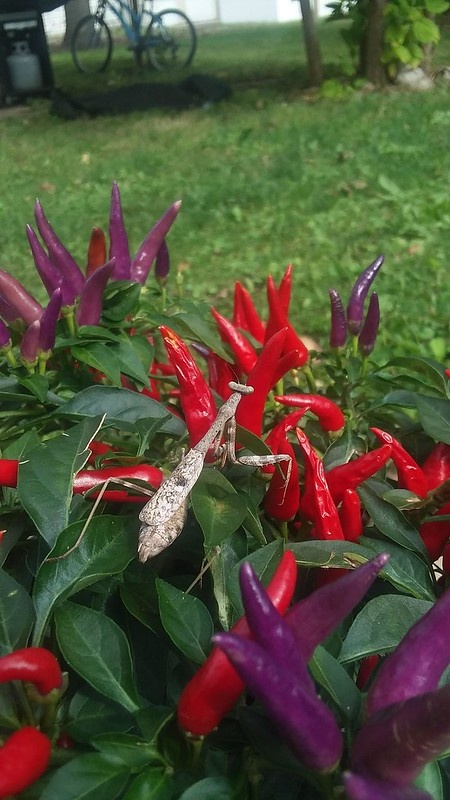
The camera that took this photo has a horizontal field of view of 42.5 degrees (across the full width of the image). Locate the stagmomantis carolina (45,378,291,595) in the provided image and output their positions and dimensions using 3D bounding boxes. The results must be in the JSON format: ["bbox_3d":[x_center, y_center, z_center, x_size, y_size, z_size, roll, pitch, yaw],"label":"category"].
[{"bbox_3d":[-0.061,0.056,0.615,0.193,0.106,0.246,19,30,21],"label":"stagmomantis carolina"}]

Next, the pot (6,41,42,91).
[{"bbox_3d":[-3.386,-5.593,9.677,0.562,0.866,0.544,0,47,0],"label":"pot"}]

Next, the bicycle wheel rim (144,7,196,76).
[{"bbox_3d":[-0.967,-6.309,10.207,0.959,0.984,0.658,-7,24,0],"label":"bicycle wheel rim"}]
